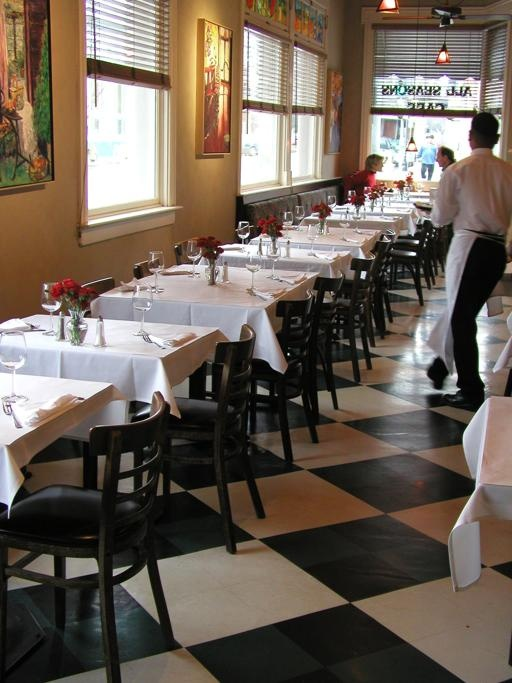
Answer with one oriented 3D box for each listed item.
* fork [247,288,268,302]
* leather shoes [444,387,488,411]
[{"bbox_3d":[0.012,-0.284,3.127,0.053,0.031,0.179,-7,16,-17],"label":"fork"},{"bbox_3d":[1.517,0.431,3.846,0.330,0.150,0.135,12,7,29],"label":"leather shoes"}]
